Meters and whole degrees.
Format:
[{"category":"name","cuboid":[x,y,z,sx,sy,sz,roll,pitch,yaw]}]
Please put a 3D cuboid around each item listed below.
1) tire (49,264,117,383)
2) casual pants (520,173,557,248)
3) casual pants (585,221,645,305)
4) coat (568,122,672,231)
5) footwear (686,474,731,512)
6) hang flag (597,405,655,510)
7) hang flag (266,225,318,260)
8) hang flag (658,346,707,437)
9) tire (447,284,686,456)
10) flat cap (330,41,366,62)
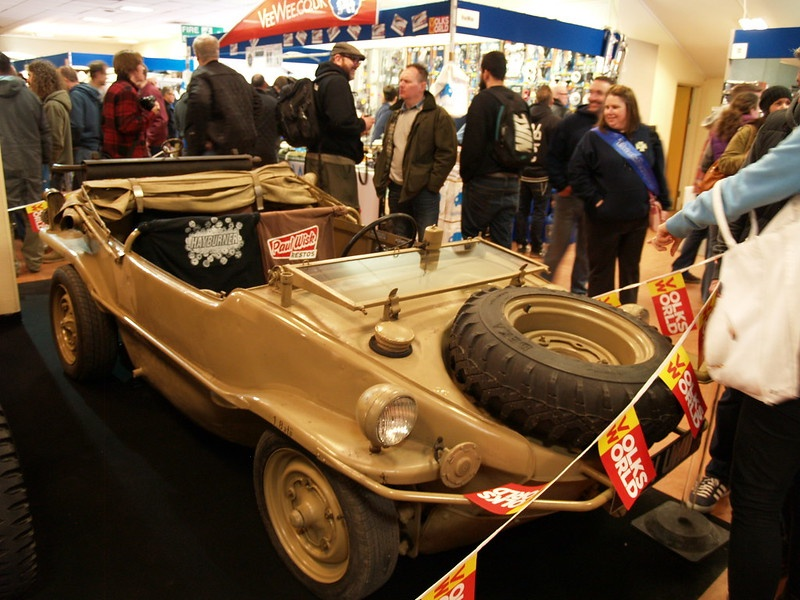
[{"category":"tire","cuboid":[-1.855,0.136,3.290,0.255,0.741,0.654,-16,6,-34]},{"category":"casual pants","cuboid":[1.609,-1.113,6.759,0.329,0.916,0.235,11,25,34]},{"category":"casual pants","cuboid":[1.795,-0.343,4.580,0.390,1.110,0.263,-3,49,16]},{"category":"coat","cuboid":[1.705,-0.992,4.286,0.745,0.724,0.405,-1,15,3]},{"category":"footwear","cuboid":[1.475,0.934,2.697,0.136,0.150,0.380,31,13,33]},{"category":"hang flag","cuboid":[0.768,0.525,1.905,0.015,0.362,0.266,3,48,41]},{"category":"hang flag","cuboid":[-0.710,-0.376,3.607,0.282,0.163,0.006,-16,25,-38]},{"category":"hang flag","cuboid":[1.044,0.344,2.071,0.033,0.287,0.323,-10,32,53]},{"category":"tire","cuboid":[0.547,0.260,2.061,0.696,0.252,0.709,29,29,28]},{"category":"flat cap","cuboid":[-0.471,-2.258,5.124,0.268,0.116,0.189,-1,12,-24]}]
